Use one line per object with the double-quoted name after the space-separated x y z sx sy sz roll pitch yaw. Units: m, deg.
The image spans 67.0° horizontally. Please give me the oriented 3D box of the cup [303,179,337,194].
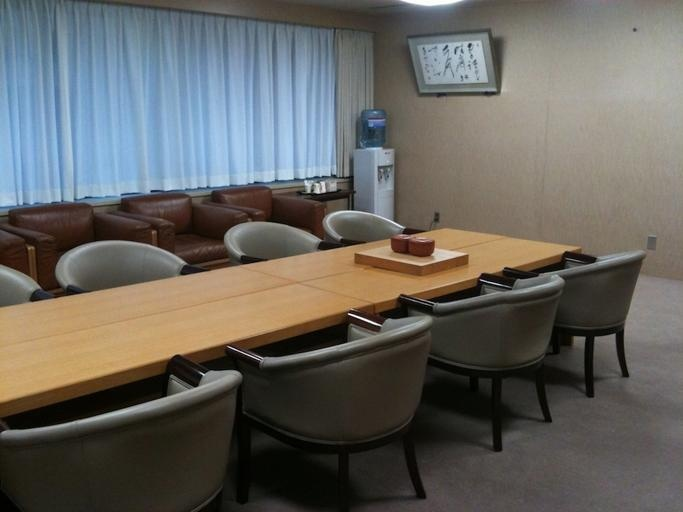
-0.265 -0.870 6.548 0.341 0.148 0.204 -16 22 -42 "cup"
